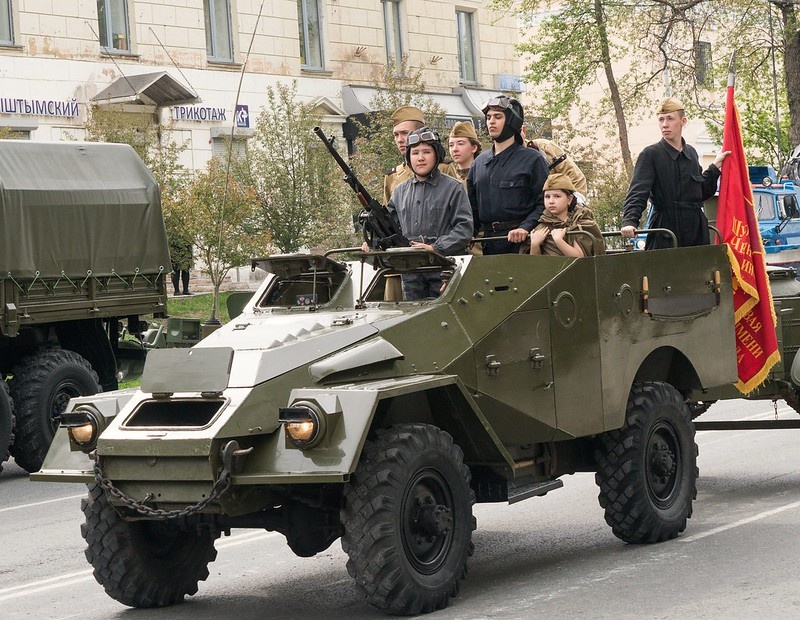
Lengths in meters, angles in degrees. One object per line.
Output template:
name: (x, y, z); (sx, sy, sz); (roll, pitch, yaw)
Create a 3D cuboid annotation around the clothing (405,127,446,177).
clothing: (0.251, -1.308, 9.521); (0.292, 0.398, 0.383); (-3, 0, 9)

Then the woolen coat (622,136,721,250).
woolen coat: (2.729, -1.082, 11.421); (1.382, 1.252, 0.490); (0, -6, -25)

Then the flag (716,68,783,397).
flag: (3.304, -0.639, 11.096); (0.543, 3.426, 0.411); (-4, 28, 18)

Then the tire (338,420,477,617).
tire: (0.038, 1.378, 7.578); (0.441, 1.400, 1.207); (-5, -4, 31)

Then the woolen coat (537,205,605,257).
woolen coat: (1.450, -0.672, 9.883); (0.436, 0.458, 0.268); (0, -13, -18)

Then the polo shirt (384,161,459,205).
polo shirt: (0.206, -1.079, 9.824); (0.494, 0.472, 0.177); (-1, -4, -6)

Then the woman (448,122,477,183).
woman: (0.620, -1.530, 11.082); (0.305, 0.618, 0.317); (-11, 9, -42)

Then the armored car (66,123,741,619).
armored car: (0.323, 0.709, 9.086); (2.815, 2.619, 5.006); (-5, -5, 41)

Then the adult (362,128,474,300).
adult: (0.152, -0.447, 9.566); (0.837, 2.123, 0.689); (-1, 8, 14)

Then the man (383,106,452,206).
man: (0.131, -1.466, 10.714); (0.798, 0.898, 0.401); (1, 10, 37)

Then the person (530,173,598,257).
person: (1.414, -0.801, 9.971); (0.593, 0.777, 0.380); (0, 3, 31)

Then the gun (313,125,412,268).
gun: (-0.263, -0.752, 8.986); (0.180, 0.573, 1.420); (-9, -36, 27)

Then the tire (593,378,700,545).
tire: (2.009, 1.251, 9.415); (0.333, 1.317, 1.217); (-2, -5, 33)

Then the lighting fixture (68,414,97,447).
lighting fixture: (-2.190, 0.851, 7.926); (0.177, 0.237, 0.075); (11, 10, 18)

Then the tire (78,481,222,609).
tire: (-1.802, 1.560, 8.367); (0.333, 1.140, 1.067); (-4, -6, 31)
